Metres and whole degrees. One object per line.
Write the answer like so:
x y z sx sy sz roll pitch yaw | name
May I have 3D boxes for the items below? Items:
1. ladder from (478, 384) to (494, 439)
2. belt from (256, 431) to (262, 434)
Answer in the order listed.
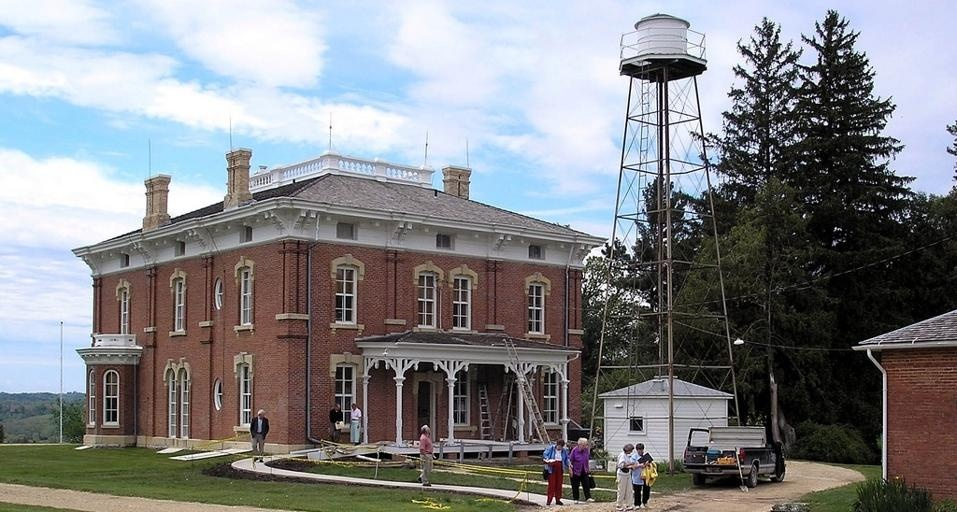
0.523 11.244 83.695 0.906 3.885 0.667 -1 -15 -2 | ladder
-14.366 11.634 76.339 0.341 0.194 0.137 -7 -15 20 | belt
